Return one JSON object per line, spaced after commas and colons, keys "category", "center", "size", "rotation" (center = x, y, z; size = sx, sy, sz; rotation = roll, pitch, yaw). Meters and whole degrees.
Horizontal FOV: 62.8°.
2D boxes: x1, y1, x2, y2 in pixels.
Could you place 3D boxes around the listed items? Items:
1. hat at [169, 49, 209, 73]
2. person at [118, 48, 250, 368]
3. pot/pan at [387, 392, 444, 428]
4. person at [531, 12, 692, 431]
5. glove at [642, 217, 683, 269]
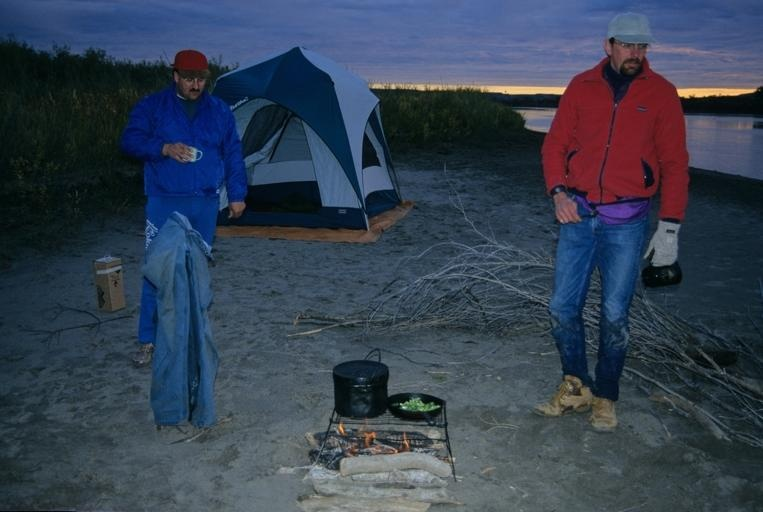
{"category": "hat", "center": [-1.664, -1.766, 5.421], "size": [0.281, 0.179, 0.175], "rotation": [-7, 19, -16]}
{"category": "person", "center": [-1.801, -0.489, 5.734], "size": [1.169, 2.794, 0.728], "rotation": [-9, 20, -22]}
{"category": "pot/pan", "center": [0.267, 1.206, 4.951], "size": [0.461, 0.156, 0.271], "rotation": [2, 19, 9]}
{"category": "person", "center": [1.799, -0.327, 4.921], "size": [1.433, 3.298, 1.057], "rotation": [3, 2, 36]}
{"category": "glove", "center": [2.188, -0.141, 4.861], "size": [0.215, 0.376, 0.173], "rotation": [9, 21, 27]}
